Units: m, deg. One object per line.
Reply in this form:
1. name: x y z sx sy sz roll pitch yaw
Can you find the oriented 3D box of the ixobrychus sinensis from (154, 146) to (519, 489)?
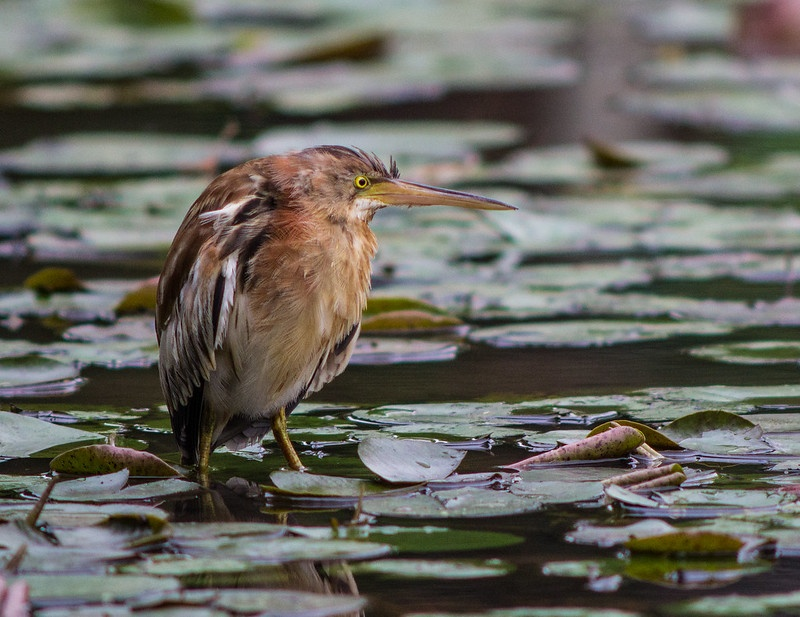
1. ixobrychus sinensis: -0.494 -0.016 4.562 1.104 1.440 0.815 0 15 -12
